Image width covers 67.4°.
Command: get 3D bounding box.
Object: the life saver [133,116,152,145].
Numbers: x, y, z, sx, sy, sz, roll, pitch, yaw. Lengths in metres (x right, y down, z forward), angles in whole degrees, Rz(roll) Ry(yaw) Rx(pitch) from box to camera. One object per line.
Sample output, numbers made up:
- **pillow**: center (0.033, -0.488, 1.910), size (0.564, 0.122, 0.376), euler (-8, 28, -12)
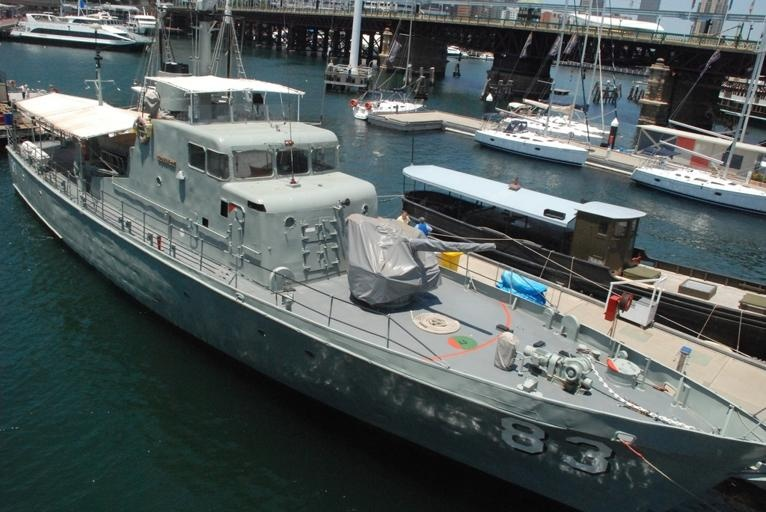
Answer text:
- **life saver**: center (-9.471, -4.949, 22.665), size (0.930, 1.209, 0.469), euler (0, 5, 39)
